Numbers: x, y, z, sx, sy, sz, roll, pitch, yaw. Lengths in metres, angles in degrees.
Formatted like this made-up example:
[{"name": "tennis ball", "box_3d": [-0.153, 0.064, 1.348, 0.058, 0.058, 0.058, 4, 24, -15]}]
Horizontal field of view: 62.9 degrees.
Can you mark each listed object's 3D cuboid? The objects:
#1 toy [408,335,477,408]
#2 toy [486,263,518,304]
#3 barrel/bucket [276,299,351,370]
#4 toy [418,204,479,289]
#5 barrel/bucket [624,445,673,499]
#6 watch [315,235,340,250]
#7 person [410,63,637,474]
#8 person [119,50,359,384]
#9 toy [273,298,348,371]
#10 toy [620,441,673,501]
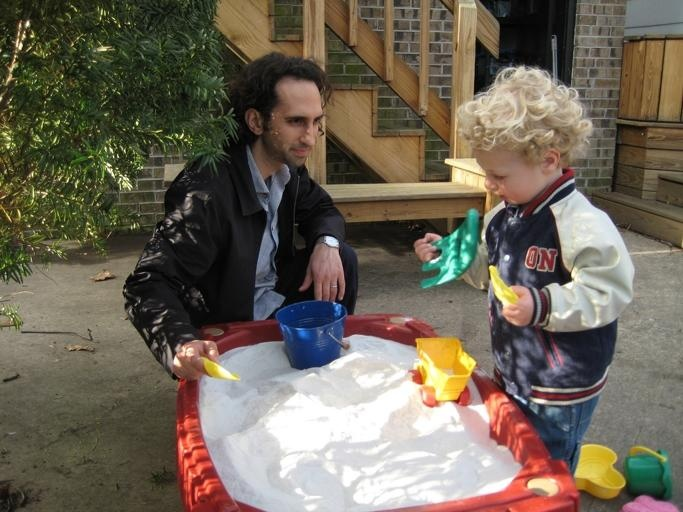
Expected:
[{"name": "toy", "box_3d": [0.344, 0.383, 1.930, 0.170, 0.158, 0.230, -2, 34, -8]}, {"name": "toy", "box_3d": [0.500, 0.089, 1.705, 0.090, 0.114, 0.083, 7, 11, 28]}, {"name": "barrel/bucket", "box_3d": [-0.124, 0.297, 2.221, 0.254, 0.192, 0.263, -3, 24, 1]}, {"name": "toy", "box_3d": [0.459, -0.016, 2.214, 0.068, 0.206, 0.339, 7, -37, -26]}, {"name": "barrel/bucket", "box_3d": [1.174, 0.826, 2.180, 0.182, 0.204, 0.152, -4, 1, 16]}, {"name": "watch", "box_3d": [-0.055, -0.076, 2.737, 0.074, 0.071, 0.075, 30, 1, -7]}, {"name": "person", "box_3d": [0.659, 0.040, 1.940, 0.525, 1.400, 0.623, 1, 10, 0]}, {"name": "person", "box_3d": [-0.382, -0.271, 2.432, 0.589, 1.261, 1.409, 6, 11, 27]}, {"name": "toy", "box_3d": [-0.121, 0.293, 2.223, 0.255, 0.197, 0.264, 16, 31, 35]}, {"name": "toy", "box_3d": [1.203, 0.827, 2.209, 0.198, 0.202, 0.141, -6, 7, -30]}]
